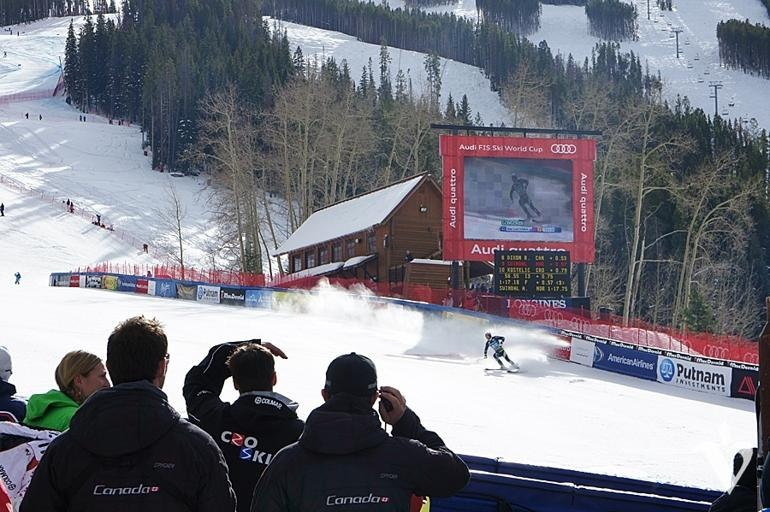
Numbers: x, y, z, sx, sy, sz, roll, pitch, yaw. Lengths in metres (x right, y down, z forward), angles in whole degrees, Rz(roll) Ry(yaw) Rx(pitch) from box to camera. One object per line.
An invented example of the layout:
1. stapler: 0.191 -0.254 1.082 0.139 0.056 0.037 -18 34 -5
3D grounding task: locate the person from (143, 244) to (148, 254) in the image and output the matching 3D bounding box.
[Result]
1. person: -41.222 -1.201 244.256 0.698 1.386 2.232 1 3 -12
